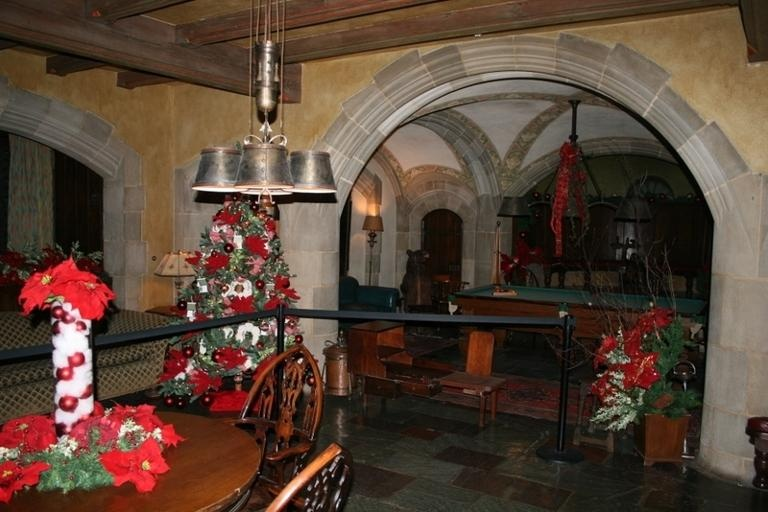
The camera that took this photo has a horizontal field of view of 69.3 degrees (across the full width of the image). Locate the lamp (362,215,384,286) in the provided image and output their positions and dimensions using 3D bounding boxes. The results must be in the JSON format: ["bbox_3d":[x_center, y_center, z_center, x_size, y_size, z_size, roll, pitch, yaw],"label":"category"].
[{"bbox_3d":[-0.273,-0.139,11.721,0.408,1.479,0.655,1,7,-2],"label":"lamp"}]

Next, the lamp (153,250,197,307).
[{"bbox_3d":[-2.561,0.351,6.779,0.448,0.771,2.138,-1,7,-20],"label":"lamp"}]

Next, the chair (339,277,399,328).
[{"bbox_3d":[-0.309,0.748,9.601,0.836,0.486,0.885,5,7,41],"label":"chair"}]

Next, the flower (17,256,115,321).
[{"bbox_3d":[-1.581,0.159,2.785,0.425,0.190,0.396,-1,27,-28],"label":"flower"}]

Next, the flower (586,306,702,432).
[{"bbox_3d":[2.334,1.072,5.574,1.238,1.282,1.143,5,2,18],"label":"flower"}]

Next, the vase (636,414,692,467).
[{"bbox_3d":[2.511,1.660,5.021,0.548,0.448,0.297,0,-2,3],"label":"vase"}]

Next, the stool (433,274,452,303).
[{"bbox_3d":[1.155,0.635,11.134,0.413,0.560,0.925,2,6,6],"label":"stool"}]
